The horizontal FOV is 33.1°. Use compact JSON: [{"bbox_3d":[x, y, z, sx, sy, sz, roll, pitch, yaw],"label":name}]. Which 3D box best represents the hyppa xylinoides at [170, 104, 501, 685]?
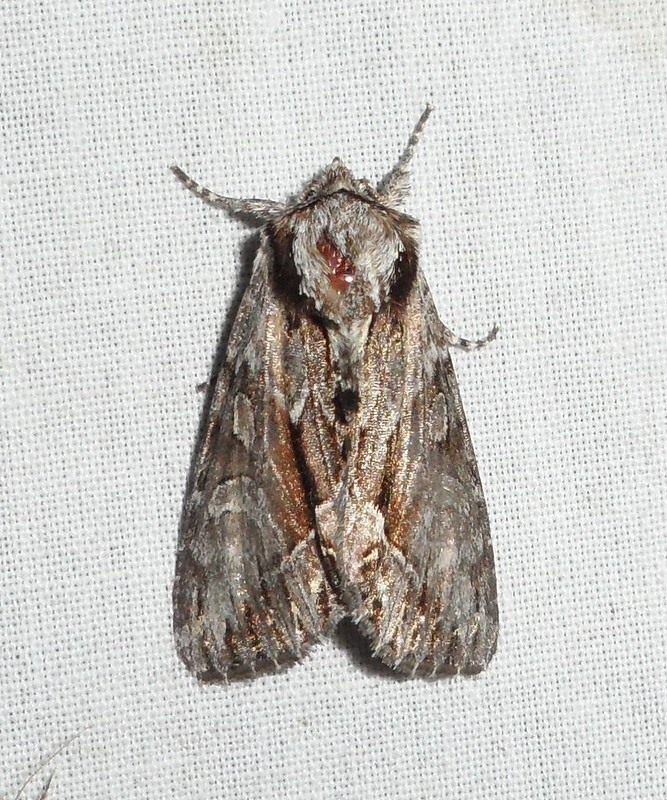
[{"bbox_3d":[0.019,0.097,2.509,0.708,0.730,0.741,8,45,-11],"label":"hyppa xylinoides"}]
